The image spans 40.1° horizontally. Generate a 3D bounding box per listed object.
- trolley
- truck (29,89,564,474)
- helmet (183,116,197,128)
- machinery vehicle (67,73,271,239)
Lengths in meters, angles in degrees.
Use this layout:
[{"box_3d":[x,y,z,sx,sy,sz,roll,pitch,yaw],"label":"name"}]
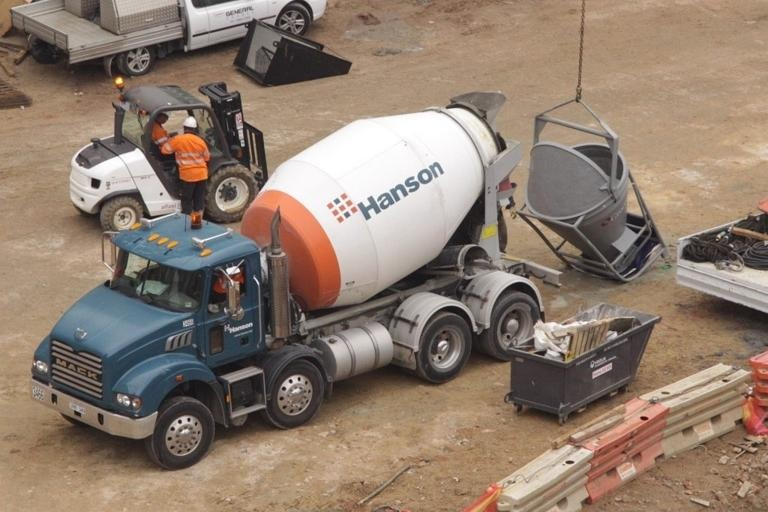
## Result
[{"box_3d":[3.442,1.732,18.163,2.722,1.094,1.444,-18,21,-40],"label":"trolley"},{"box_3d":[-2.088,0.052,18.652,10.930,4.522,4.327,-19,30,-30],"label":"truck"},{"box_3d":[-4.135,-2.845,22.259,0.273,0.146,0.288,6,30,-7],"label":"helmet"},{"box_3d":[-4.663,-2.340,23.520,2.642,2.523,4.879,30,33,33],"label":"machinery vehicle"}]
